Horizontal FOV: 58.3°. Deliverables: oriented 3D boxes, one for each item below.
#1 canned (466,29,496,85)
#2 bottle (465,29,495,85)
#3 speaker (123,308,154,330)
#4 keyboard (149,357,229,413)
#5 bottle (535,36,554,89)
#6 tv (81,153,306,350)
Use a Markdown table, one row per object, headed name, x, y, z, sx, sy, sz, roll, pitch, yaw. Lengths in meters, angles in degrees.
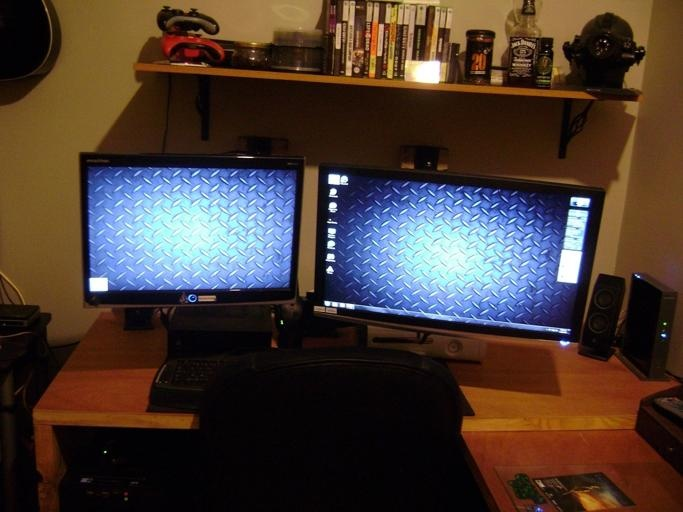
| name | x | y | z | sx | sy | sz | roll | pitch | yaw |
| --- | --- | --- | --- | --- | --- | --- | --- | --- | --- |
| canned | 0.478 | -0.698 | 2.140 | 0.109 | 0.172 | 0.107 | -10 | 22 | -29 |
| bottle | 0.472 | -0.698 | 2.145 | 0.109 | 0.177 | 0.111 | 1 | 21 | 0 |
| speaker | -0.737 | 0.230 | 2.226 | 0.092 | 0.089 | 0.086 | -1 | -17 | 4 |
| keyboard | -0.488 | 0.405 | 1.907 | 0.200 | 0.069 | 0.271 | 11 | 9 | -1 |
| bottle | 0.694 | -0.672 | 2.123 | 0.060 | 0.163 | 0.064 | 2 | 17 | -1 |
| tv | -0.482 | -0.031 | 2.008 | 0.670 | 0.494 | 0.069 | 1 | 8 | -10 |
